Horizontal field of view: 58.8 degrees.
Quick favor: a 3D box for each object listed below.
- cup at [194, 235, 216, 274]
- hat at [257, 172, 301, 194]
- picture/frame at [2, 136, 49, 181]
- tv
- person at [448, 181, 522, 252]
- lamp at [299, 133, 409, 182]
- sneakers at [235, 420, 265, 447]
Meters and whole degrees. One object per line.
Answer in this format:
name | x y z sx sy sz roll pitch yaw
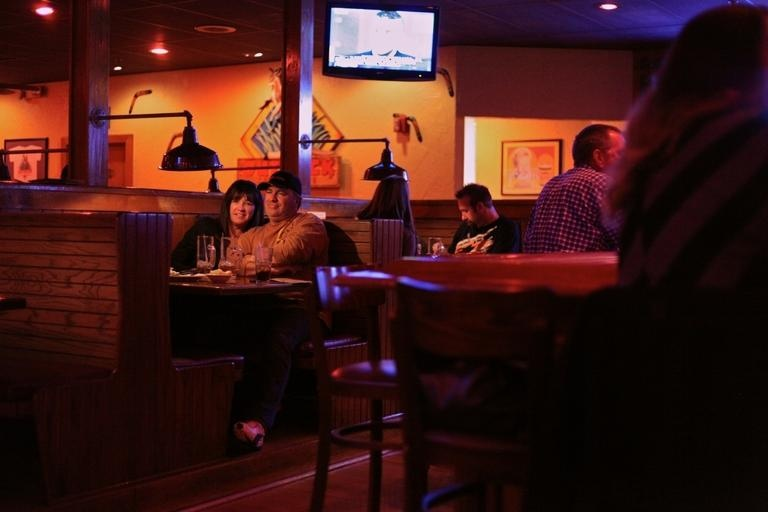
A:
cup | -1.106 -0.017 4.132 0.158 0.241 0.249 0 3 -22
hat | -0.700 -0.531 4.838 0.272 0.121 0.186 18 -12 -38
picture/frame | -6.586 -1.800 12.522 0.643 0.778 1.187 -3 9 -34
tv | -0.040 -2.164 6.854 1.045 0.628 0.102 2 -4 -8
person | 0.843 -0.282 5.647 0.488 0.615 0.833 2 8 -3
lamp | -0.367 -0.917 6.167 1.305 0.450 0.528 0 1 13
sneakers | -0.744 0.957 3.693 0.088 0.100 0.228 -5 -28 11
